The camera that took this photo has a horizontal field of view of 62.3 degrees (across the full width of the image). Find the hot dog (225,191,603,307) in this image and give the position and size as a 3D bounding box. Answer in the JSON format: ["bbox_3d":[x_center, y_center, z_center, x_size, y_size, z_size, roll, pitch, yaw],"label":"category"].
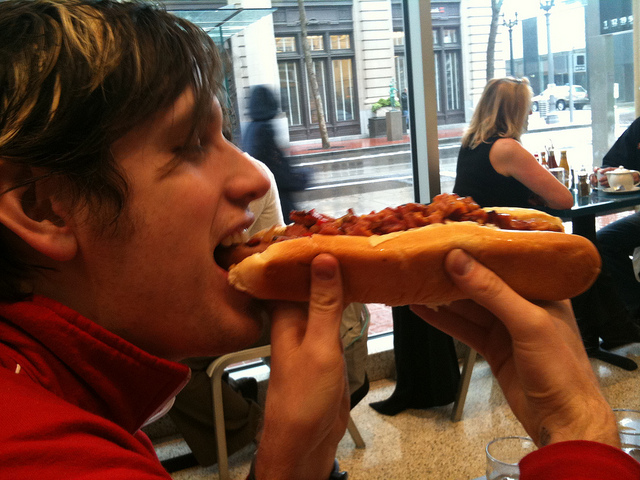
[{"bbox_3d":[0.202,0.032,1.297,0.718,0.211,0.385,-4,4,3],"label":"hot dog"}]

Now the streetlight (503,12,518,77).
[{"bbox_3d":[1.572,-1.626,4.407,0.148,0.493,0.048,-21,23,-36],"label":"streetlight"}]

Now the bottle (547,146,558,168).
[{"bbox_3d":[2.026,-0.717,4.640,0.081,0.161,0.198,2,20,24],"label":"bottle"}]

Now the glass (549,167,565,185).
[{"bbox_3d":[1.977,-0.537,4.468,0.134,0.146,0.131,-6,11,4],"label":"glass"}]
